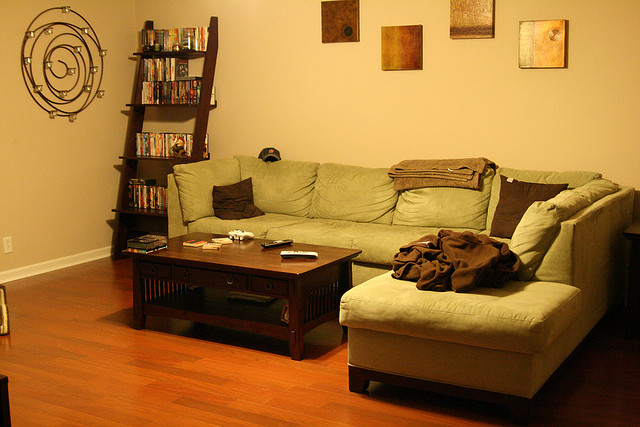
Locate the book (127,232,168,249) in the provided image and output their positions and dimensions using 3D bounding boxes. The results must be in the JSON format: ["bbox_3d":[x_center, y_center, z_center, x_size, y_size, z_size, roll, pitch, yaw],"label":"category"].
[{"bbox_3d":[-1.493,0.239,4.319,0.267,0.070,0.254,-12,17,-41],"label":"book"}]

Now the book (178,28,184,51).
[{"bbox_3d":[-1.657,-2.072,5.977,0.078,0.257,0.107,-2,14,-5],"label":"book"}]

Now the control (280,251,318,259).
[{"bbox_3d":[-0.168,0.321,4.009,0.183,0.040,0.104,1,2,1],"label":"control"}]

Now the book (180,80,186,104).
[{"bbox_3d":[-1.642,-1.463,6.009,0.081,0.270,0.063,1,15,8],"label":"book"}]

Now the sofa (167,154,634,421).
[{"bbox_3d":[0.774,0.190,4.834,3.088,1.230,3.876,-10,16,-37],"label":"sofa"}]

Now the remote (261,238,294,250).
[{"bbox_3d":[-0.367,0.253,4.365,0.295,0.053,0.095,-5,1,-31],"label":"remote"}]

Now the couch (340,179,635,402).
[{"bbox_3d":[1.042,0.020,3.364,1.347,1.098,2.287,5,10,34],"label":"couch"}]

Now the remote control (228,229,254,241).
[{"bbox_3d":[-0.727,0.186,4.581,0.152,0.052,0.107,5,9,28],"label":"remote control"}]

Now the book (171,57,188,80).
[{"bbox_3d":[-1.705,-1.742,6.052,0.099,0.261,0.297,6,9,20],"label":"book"}]
